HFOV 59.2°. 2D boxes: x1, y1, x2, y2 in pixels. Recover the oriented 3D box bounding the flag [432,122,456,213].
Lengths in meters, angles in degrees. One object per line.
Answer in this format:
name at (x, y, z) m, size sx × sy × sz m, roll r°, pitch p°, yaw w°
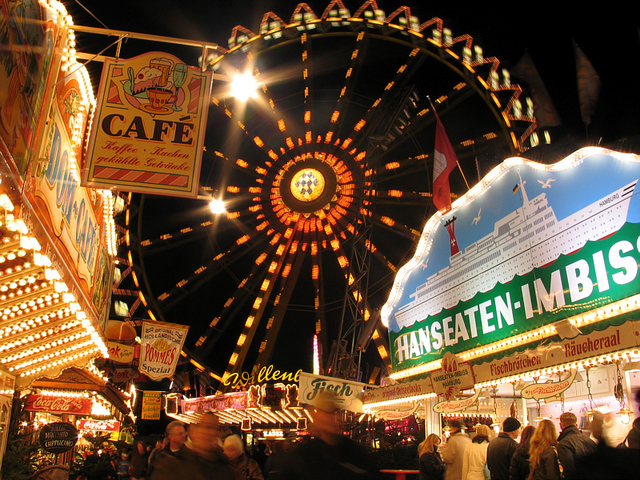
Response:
flag at (2.688, -1.812, 12.319) m, size 0.537 × 2.632 × 0.859 m, roll -4°, pitch -28°, yaw 12°
